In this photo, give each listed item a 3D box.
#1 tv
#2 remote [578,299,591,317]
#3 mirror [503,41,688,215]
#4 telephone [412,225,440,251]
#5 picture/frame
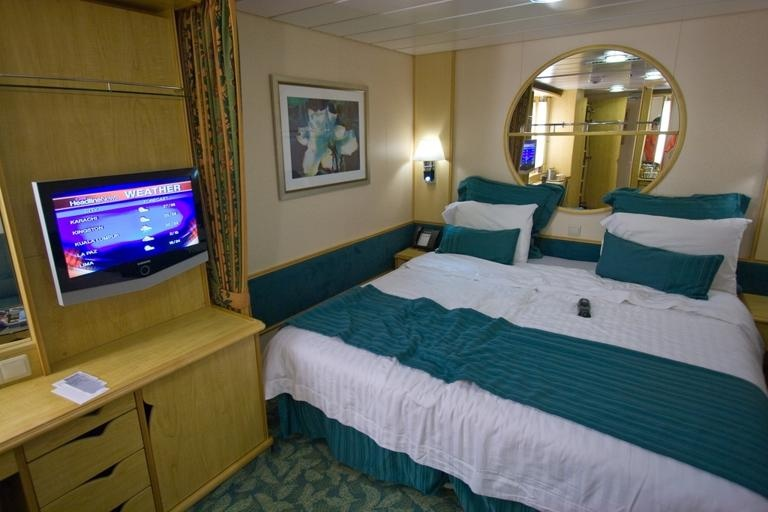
[{"bbox_3d":[-1.641,-0.135,3.055,0.104,0.662,0.803,14,21,43],"label":"tv"},{"bbox_3d":[1.498,0.393,3.766,0.089,0.121,0.070,-12,-38,44],"label":"remote"},{"bbox_3d":[1.903,-1.152,4.762,1.554,1.562,0.035,7,31,30],"label":"mirror"},{"bbox_3d":[0.484,-0.206,5.621,0.279,0.271,0.076,13,-11,34],"label":"telephone"},{"bbox_3d":[-0.600,-1.061,4.425,0.043,0.969,1.189,13,19,37],"label":"picture/frame"}]
